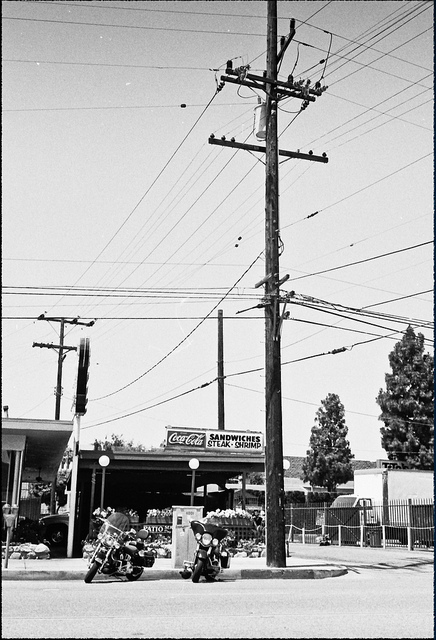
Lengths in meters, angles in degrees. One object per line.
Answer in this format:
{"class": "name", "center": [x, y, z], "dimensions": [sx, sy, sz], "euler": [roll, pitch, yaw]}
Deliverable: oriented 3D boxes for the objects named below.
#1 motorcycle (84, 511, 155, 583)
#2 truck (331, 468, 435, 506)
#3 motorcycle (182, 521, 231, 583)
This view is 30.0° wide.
{"class": "motorcycle", "center": [-1.691, 3.888, 14.191], "dimensions": [0.810, 1.262, 1.861], "euler": [11, -8, 25]}
{"class": "truck", "center": [8.839, 8.158, 40.833], "dimensions": [1.840, 1.774, 4.832], "euler": [13, -21, -34]}
{"class": "motorcycle", "center": [-0.145, 4.189, 14.708], "dimensions": [0.629, 1.151, 1.859], "euler": [9, -12, 14]}
